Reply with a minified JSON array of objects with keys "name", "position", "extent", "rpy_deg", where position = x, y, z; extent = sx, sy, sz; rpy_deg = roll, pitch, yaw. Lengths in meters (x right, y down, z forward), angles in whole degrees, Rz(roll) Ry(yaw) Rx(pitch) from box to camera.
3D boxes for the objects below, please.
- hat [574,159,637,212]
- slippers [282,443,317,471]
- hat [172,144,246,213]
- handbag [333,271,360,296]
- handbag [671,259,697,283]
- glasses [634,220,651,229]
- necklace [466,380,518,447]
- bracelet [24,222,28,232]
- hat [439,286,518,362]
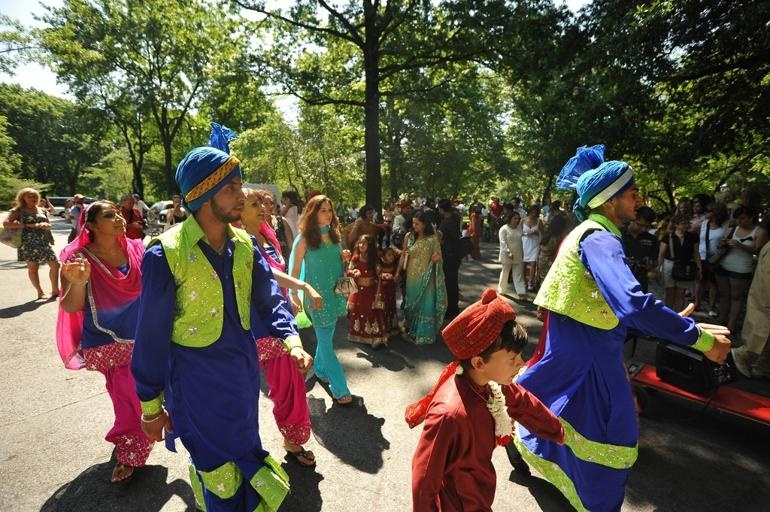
[{"name":"hat","position":[3.036,-0.991,8.289],"extent":[0.690,0.490,0.642],"rpy_deg":[-31,-12,10]},{"name":"slippers","position":[-1.272,2.971,8.813],"extent":[0.510,0.172,0.257],"rpy_deg":[11,14,30]},{"name":"hat","position":[-2.272,-1.078,7.990],"extent":[0.843,0.813,0.769],"rpy_deg":[-13,11,3]},{"name":"handbag","position":[-0.664,0.530,10.066],"extent":[0.507,0.369,0.286],"rpy_deg":[-1,-6,3]},{"name":"handbag","position":[6.085,0.294,12.182],"extent":[0.529,0.519,0.376],"rpy_deg":[0,3,5]},{"name":"glasses","position":[5.013,-0.592,11.517],"extent":[0.149,0.121,0.203],"rpy_deg":[8,23,0]},{"name":"necklace","position":[1.409,1.969,7.431],"extent":[0.489,0.710,0.259],"rpy_deg":[-41,-10,16]},{"name":"bracelet","position":[-7.996,-0.650,13.150],"extent":[0.080,0.118,0.031],"rpy_deg":[12,-5,16]},{"name":"hat","position":[1.126,0.831,7.407],"extent":[0.981,0.528,0.709],"rpy_deg":[-33,33,10]}]
